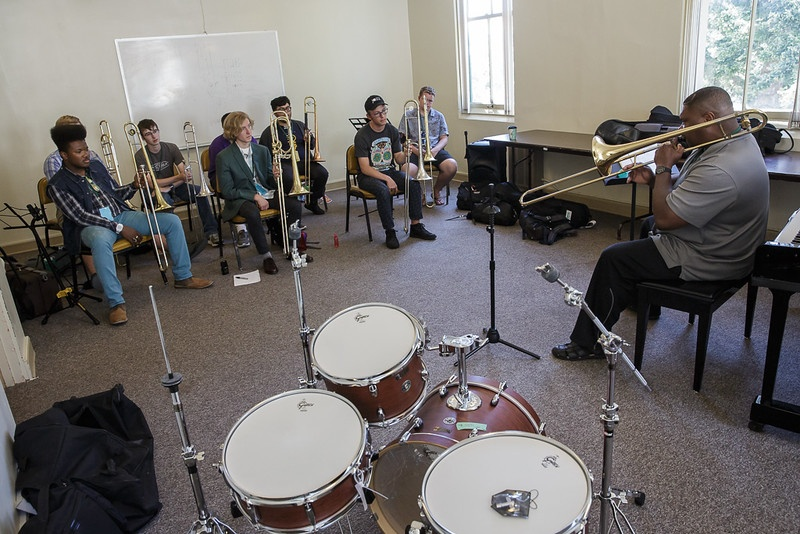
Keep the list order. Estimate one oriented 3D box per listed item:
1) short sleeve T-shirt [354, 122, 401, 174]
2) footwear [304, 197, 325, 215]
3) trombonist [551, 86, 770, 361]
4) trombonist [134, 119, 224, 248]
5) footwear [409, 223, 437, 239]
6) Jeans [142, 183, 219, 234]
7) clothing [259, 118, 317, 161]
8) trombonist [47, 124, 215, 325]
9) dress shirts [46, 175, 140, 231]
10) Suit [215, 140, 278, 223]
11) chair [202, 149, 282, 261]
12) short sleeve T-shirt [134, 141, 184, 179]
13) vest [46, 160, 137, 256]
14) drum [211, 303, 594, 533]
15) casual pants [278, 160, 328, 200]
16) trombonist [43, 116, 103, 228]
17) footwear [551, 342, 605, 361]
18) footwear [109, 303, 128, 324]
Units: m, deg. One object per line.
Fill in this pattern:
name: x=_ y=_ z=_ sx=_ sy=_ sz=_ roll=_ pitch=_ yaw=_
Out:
short sleeve T-shirt: x=-0.231 y=-1.224 z=6.265 sx=0.542 sy=0.553 sz=0.286 roll=-10 pitch=19 yaw=-20
footwear: x=-1.053 y=-0.764 z=7.238 sx=0.294 sy=0.207 sz=0.120 roll=-13 pitch=53 yaw=-17
trombonist: x=1.944 y=-0.554 z=4.764 sx=1.679 sy=2.579 sz=1.191 roll=9 pitch=23 yaw=33
trombonist: x=-2.321 y=-0.863 z=6.226 sx=0.551 sy=1.475 sz=0.495 roll=-25 pitch=2 yaw=13
footwear: x=0.264 y=-0.385 z=6.218 sx=0.336 sy=0.196 sz=0.118 roll=6 pitch=23 yaw=13
Jeans: x=-2.290 y=-0.603 z=6.457 sx=0.511 sy=0.698 sz=0.519 roll=11 pitch=26 yaw=30
clothing: x=-1.235 y=-1.465 z=6.829 sx=0.481 sy=0.673 sz=0.193 roll=8 pitch=-29 yaw=-35
trombonist: x=-2.434 y=-0.439 z=5.168 sx=1.080 sy=1.526 sz=1.039 roll=9 pitch=23 yaw=24
dress shirts: x=-2.689 y=-0.477 z=5.182 sx=0.410 sy=0.539 sz=0.277 roll=-54 pitch=10 yaw=-35
Suit: x=-1.484 y=-0.839 z=5.923 sx=0.558 sy=0.784 sz=0.531 roll=-15 pitch=21 yaw=-39
chair: x=-1.419 y=-0.756 z=5.882 sx=0.521 sy=1.307 sz=0.680 roll=-21 pitch=32 yaw=-39
short sleeve T-shirt: x=-2.531 y=-1.117 z=6.296 sx=0.417 sy=0.419 sz=0.209 roll=-19 pitch=60 yaw=-22
vest: x=-2.643 y=-0.569 z=5.268 sx=0.614 sy=0.779 sz=0.648 roll=4 pitch=31 yaw=37
drum: x=-0.115 y=0.787 z=3.166 sx=1.536 sy=0.870 sz=1.006 roll=-14 pitch=22 yaw=-20
casual pants: x=-1.077 y=-0.948 z=6.489 sx=0.388 sy=0.556 sz=0.173 roll=3 pitch=9 yaw=-6
trombonist: x=-3.076 y=-0.814 z=5.672 sx=0.432 sy=1.095 sz=0.299 roll=-5 pitch=-21 yaw=-34
footwear: x=1.219 y=0.581 z=4.117 sx=0.326 sy=0.148 sz=0.135 roll=6 pitch=25 yaw=11
footwear: x=-2.384 y=0.389 z=5.039 sx=0.147 sy=0.130 sz=0.189 roll=-16 pitch=24 yaw=-27
